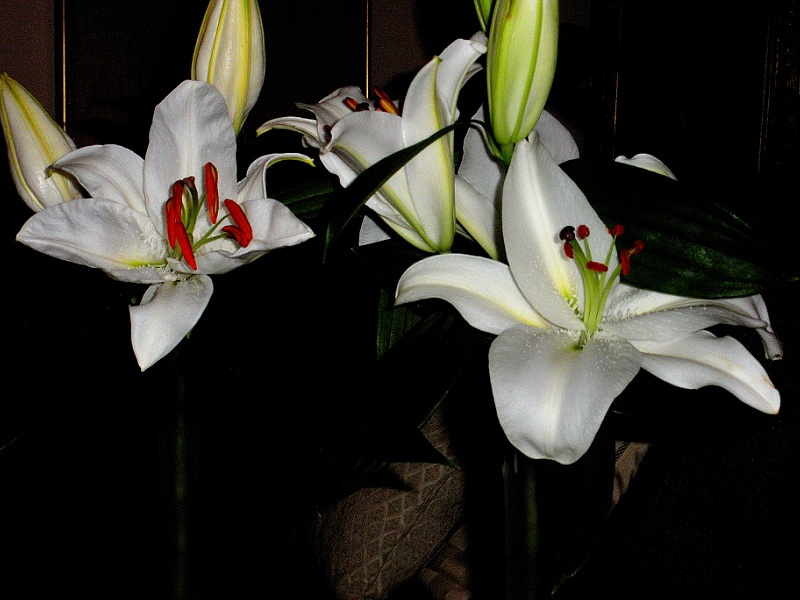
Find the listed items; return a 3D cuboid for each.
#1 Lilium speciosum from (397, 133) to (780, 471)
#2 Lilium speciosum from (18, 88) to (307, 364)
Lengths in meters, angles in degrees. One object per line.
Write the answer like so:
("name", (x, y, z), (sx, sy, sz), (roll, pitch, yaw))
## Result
("Lilium speciosum", (0.162, -0.009, 0.710), (0.327, 0.265, 0.135), (-2, 13, -10))
("Lilium speciosum", (-0.222, -0.081, 0.775), (0.273, 0.253, 0.160), (-1, 13, -8))
